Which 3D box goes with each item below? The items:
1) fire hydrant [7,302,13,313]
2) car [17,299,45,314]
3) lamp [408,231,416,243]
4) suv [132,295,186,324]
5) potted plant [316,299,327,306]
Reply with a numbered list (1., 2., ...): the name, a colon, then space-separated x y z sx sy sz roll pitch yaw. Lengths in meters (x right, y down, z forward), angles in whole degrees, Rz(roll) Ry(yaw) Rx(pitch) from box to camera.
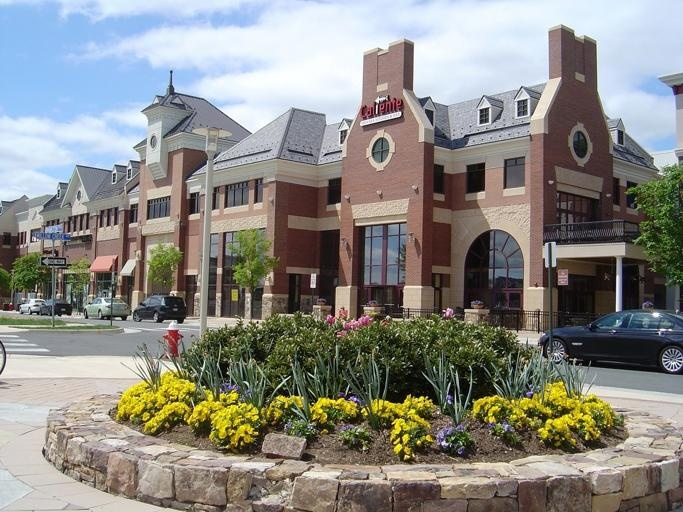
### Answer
1. fire hydrant: -32.243 4.969 62.895 0.549 0.762 0.603 -2 -3 9
2. car: -25.102 4.116 52.558 1.618 1.253 3.740 2 -1 -34
3. lamp: 4.039 -1.135 37.579 0.504 0.728 0.493 4 -7 -43
4. suv: -11.575 3.303 40.881 3.839 1.769 1.457 -6 -9 42
5. potted plant: -1.139 2.629 38.564 0.637 0.467 0.832 2 -8 -10
